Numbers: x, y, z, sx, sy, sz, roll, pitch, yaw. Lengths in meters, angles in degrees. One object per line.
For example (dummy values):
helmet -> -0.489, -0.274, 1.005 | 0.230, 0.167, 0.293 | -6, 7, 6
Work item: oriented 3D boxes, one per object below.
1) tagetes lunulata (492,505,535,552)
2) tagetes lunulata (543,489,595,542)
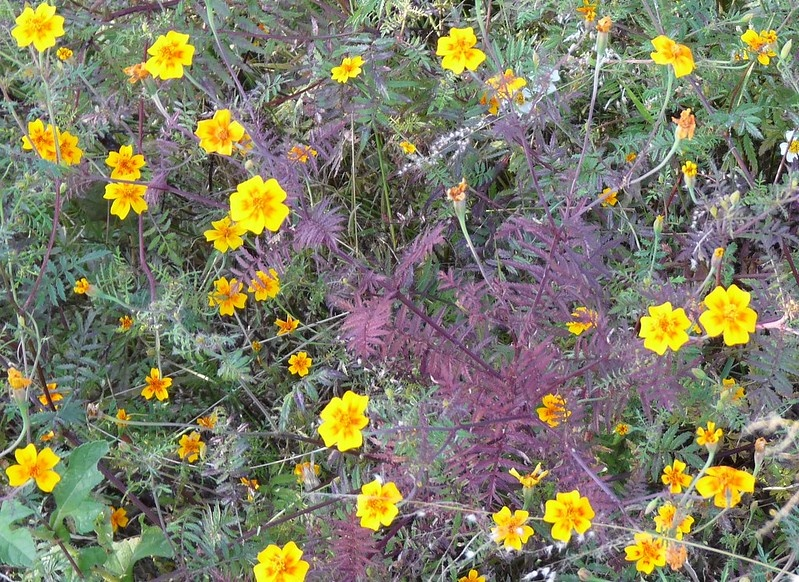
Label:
tagetes lunulata -> 0.355, 0.732, 2.044 | 0.155, 0.296, 0.119 | 2, 69, 3
tagetes lunulata -> 0.493, 0.651, 1.950 | 0.138, 0.061, 0.131 | -36, 74, -9
